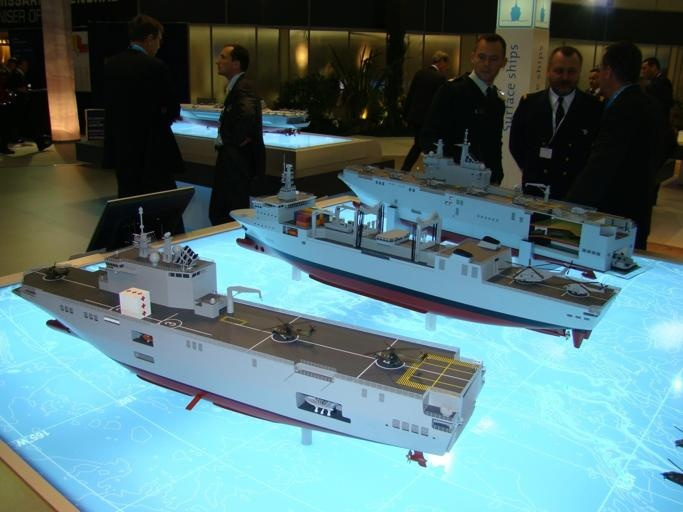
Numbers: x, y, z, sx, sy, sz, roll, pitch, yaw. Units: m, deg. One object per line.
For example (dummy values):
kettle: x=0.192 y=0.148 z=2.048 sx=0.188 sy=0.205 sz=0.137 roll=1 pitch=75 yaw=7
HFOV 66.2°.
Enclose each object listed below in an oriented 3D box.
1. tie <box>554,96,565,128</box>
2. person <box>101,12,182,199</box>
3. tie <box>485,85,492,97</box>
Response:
tie: x=4.346 y=-2.874 z=10.441 sx=0.171 sy=0.558 sz=0.095 roll=10 pitch=25 yaw=24
person: x=-4.440 y=-3.252 z=11.722 sx=1.554 sy=3.877 sz=0.611 roll=-3 pitch=22 yaw=-18
tie: x=3.158 y=-3.547 z=11.282 sx=0.163 sy=0.191 sz=0.051 roll=4 pitch=-5 yaw=-24
